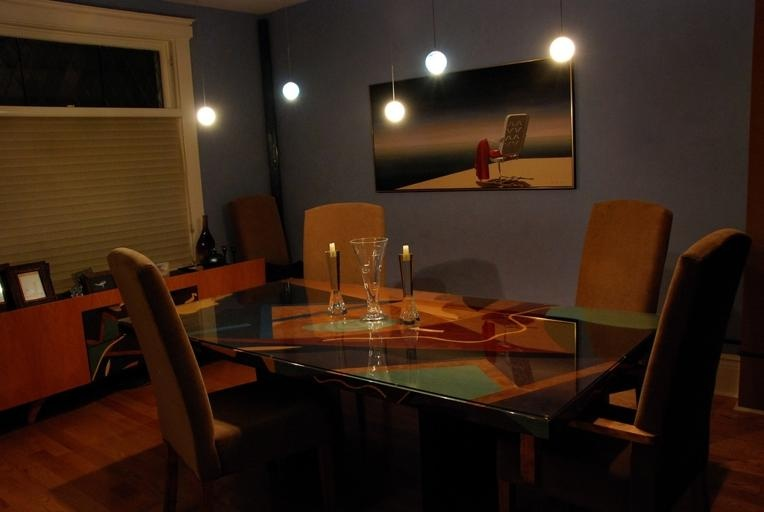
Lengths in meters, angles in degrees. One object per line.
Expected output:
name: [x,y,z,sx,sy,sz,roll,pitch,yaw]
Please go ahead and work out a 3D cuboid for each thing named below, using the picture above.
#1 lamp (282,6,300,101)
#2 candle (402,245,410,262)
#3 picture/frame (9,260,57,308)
lamp: [-0.863,-1.870,5.229,0.184,0.863,0.640,-6,12,-9]
candle: [0.108,-0.007,2.549,0.034,0.072,0.065,-4,12,3]
picture/frame: [-2.385,0.206,3.862,0.038,0.301,0.251,-16,2,44]
